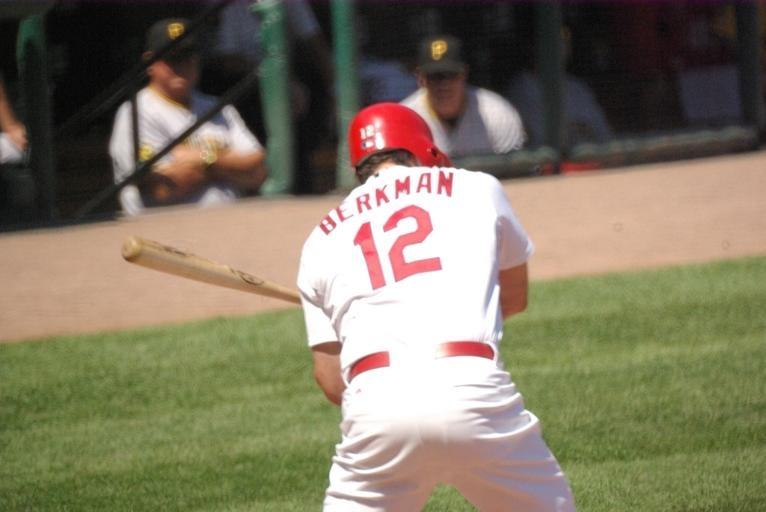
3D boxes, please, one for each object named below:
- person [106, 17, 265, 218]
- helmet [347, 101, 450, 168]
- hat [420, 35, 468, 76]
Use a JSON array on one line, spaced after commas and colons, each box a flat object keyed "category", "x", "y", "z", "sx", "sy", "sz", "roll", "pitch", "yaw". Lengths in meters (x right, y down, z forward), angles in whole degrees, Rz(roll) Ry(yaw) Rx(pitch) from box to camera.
[{"category": "person", "x": -1.336, "y": -0.963, "z": 7.674, "sx": 0.612, "sy": 1.509, "sz": 0.957, "roll": 9, "pitch": 22, "yaw": 41}, {"category": "helmet", "x": 0.074, "y": -0.580, "z": 5.932, "sx": 0.430, "sy": 0.304, "sz": 0.322, "roll": -6, "pitch": -28, "yaw": -45}, {"category": "hat", "x": 0.409, "y": -1.402, "z": 7.969, "sx": 0.375, "sy": 0.234, "sz": 0.458, "roll": -5, "pitch": 22, "yaw": 6}]
